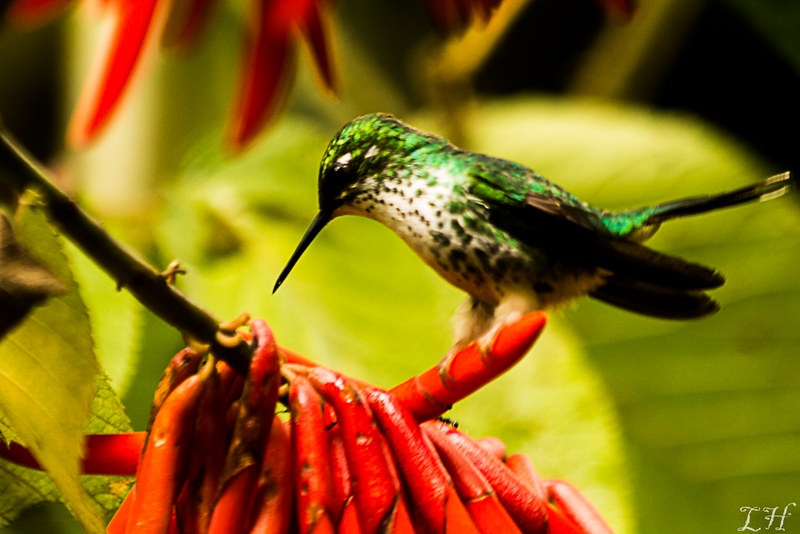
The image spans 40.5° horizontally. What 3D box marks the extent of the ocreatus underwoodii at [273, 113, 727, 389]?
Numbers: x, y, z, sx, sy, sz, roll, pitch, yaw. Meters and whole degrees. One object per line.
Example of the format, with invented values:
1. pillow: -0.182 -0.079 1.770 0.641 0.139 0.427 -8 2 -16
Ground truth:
1. ocreatus underwoodii: 0.202 -0.077 1.724 0.688 0.247 0.407 -9 87 -16
